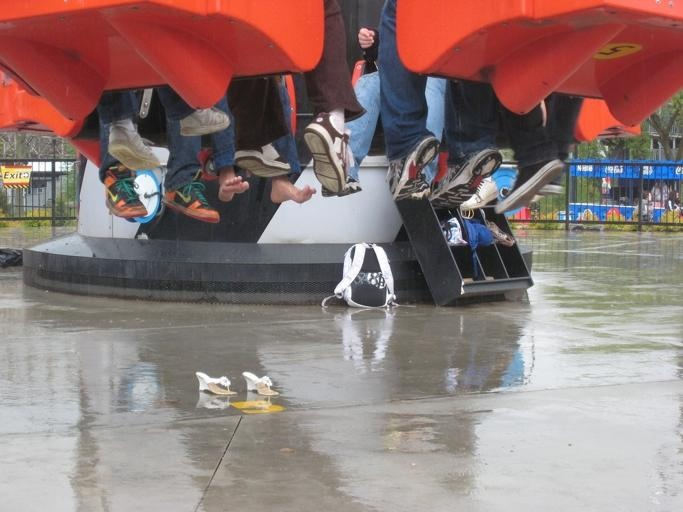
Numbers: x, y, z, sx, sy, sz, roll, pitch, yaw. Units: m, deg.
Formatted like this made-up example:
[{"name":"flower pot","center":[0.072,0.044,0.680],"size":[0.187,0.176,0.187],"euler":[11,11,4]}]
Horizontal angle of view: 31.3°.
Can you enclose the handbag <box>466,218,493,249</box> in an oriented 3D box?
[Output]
[{"name":"handbag","center":[1.184,-0.195,10.629],"size":[0.235,0.098,0.272],"euler":[5,36,-19]}]

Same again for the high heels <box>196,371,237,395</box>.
[{"name":"high heels","center":[-0.710,0.734,6.951],"size":[0.281,0.101,0.095],"euler":[-1,-2,23]}]

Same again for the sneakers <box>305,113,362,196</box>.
[{"name":"sneakers","center":[-0.071,-0.549,6.615],"size":[0.180,0.208,0.493],"euler":[3,-34,21]}]

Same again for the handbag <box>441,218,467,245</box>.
[{"name":"handbag","center":[0.963,-0.198,10.463],"size":[0.121,0.210,0.175],"euler":[-36,-12,36]}]

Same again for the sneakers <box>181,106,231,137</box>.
[{"name":"sneakers","center":[-0.759,-0.739,6.720],"size":[0.293,0.166,0.119],"euler":[-9,15,3]}]

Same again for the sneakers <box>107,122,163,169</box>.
[{"name":"sneakers","center":[-1.278,-0.622,7.356],"size":[0.166,0.180,0.435],"euler":[-16,-26,17]}]

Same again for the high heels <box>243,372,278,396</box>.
[{"name":"high heels","center":[-0.458,0.710,7.004],"size":[0.196,0.096,0.381],"euler":[-1,10,-4]}]

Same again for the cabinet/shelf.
[{"name":"cabinet/shelf","center":[1.152,-0.034,10.612],"size":[0.330,0.859,1.017],"euler":[-25,-13,40]}]
